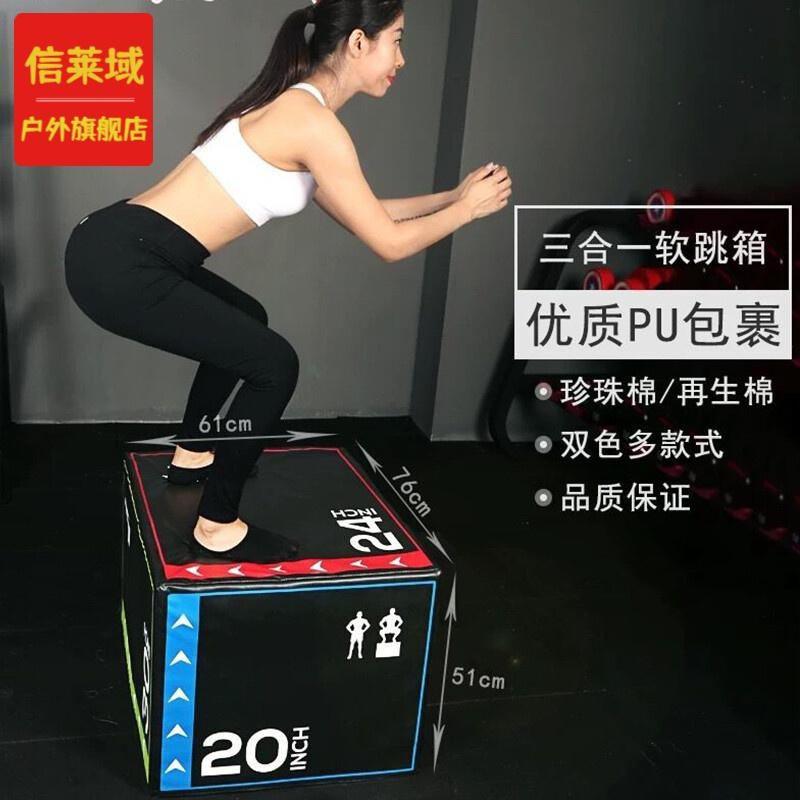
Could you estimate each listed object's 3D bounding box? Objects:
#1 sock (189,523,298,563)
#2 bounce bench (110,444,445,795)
[{"bbox_3d":[-0.242,0.238,1.258,0.117,0.030,0.068,6,24,-24],"label":"sock"},{"bbox_3d":[-0.233,0.280,1.402,0.490,0.346,0.522,-1,24,-15],"label":"bounce bench"}]
